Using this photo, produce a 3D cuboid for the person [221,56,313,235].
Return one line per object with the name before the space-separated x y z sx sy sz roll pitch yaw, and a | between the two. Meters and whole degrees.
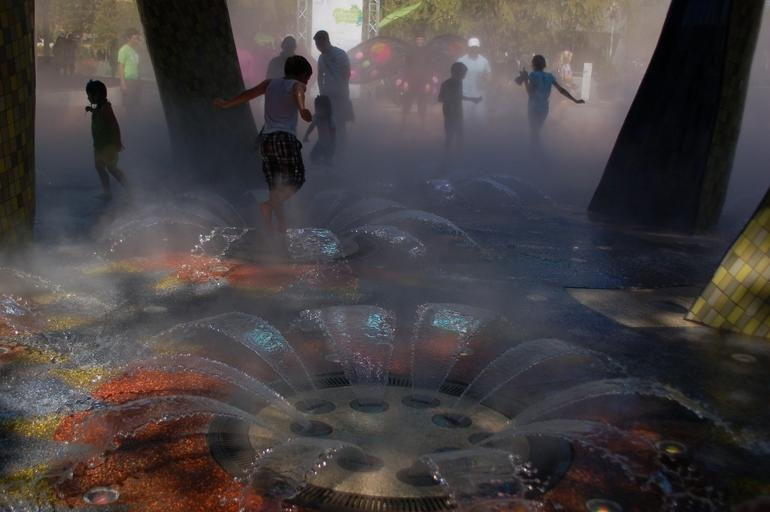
person | -1.241 -1.322 5.731 1.258 2.175 0.653 22 31 38
